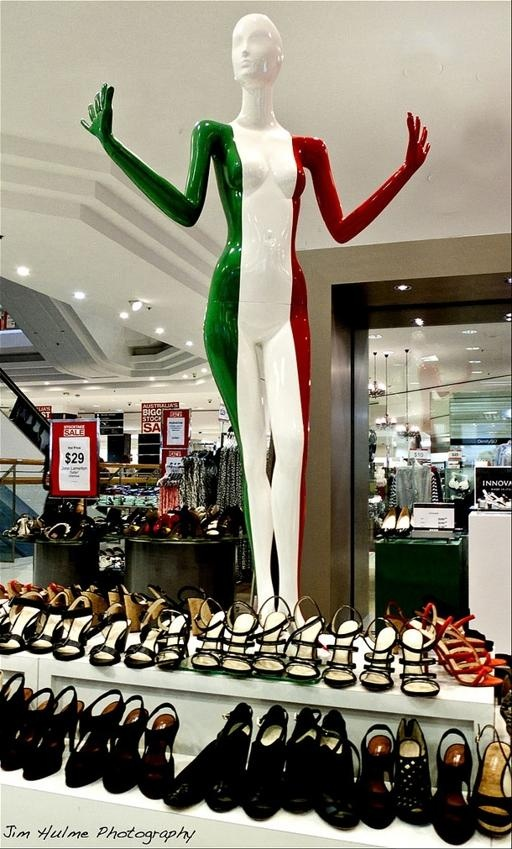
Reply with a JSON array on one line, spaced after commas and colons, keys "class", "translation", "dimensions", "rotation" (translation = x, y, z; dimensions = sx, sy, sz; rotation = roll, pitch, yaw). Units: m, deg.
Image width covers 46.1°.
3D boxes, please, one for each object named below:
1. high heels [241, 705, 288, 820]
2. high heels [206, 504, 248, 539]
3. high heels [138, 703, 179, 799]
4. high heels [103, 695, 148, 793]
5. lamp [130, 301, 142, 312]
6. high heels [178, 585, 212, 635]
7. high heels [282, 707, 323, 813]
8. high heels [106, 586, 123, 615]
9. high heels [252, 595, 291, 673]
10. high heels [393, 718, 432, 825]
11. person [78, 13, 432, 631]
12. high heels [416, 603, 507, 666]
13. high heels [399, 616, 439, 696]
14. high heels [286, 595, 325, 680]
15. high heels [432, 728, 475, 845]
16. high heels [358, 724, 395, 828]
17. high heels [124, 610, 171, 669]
[{"class": "high heels", "translation": [0.023, 0.796, 1.436], "dimensions": [0.096, 0.137, 0.296], "rotation": [-1, -5, 4]}, {"class": "high heels", "translation": [-0.172, 0.534, 3.258], "dimensions": [0.116, 0.164, 0.382], "rotation": [-2, -16, 2]}, {"class": "high heels", "translation": [-0.248, 0.825, 1.542], "dimensions": [0.066, 0.081, 0.250], "rotation": [1, 10, -3]}, {"class": "high heels", "translation": [-0.334, 0.837, 1.555], "dimensions": [0.064, 0.054, 0.203], "rotation": [-1, 27, 2]}, {"class": "lamp", "translation": [-1.590, -1.571, 8.024], "dimensions": [0.103, 0.119, 0.029], "rotation": [1, 24, -7]}, {"class": "high heels", "translation": [-0.221, 0.686, 2.280], "dimensions": [0.106, 0.137, 0.349], "rotation": [-1, -5, -4]}, {"class": "high heels", "translation": [0.108, 0.797, 1.431], "dimensions": [0.047, 0.049, 0.190], "rotation": [-5, 41, 16]}, {"class": "high heels", "translation": [-0.528, 0.668, 2.273], "dimensions": [0.049, 0.090, 0.088], "rotation": [0, -9, -4]}, {"class": "high heels", "translation": [0.047, 0.598, 1.721], "dimensions": [0.064, 0.051, 0.216], "rotation": [-3, 28, 7]}, {"class": "high heels", "translation": [0.362, 0.806, 1.378], "dimensions": [0.059, 0.244, 0.062], "rotation": [-8, -47, 17]}, {"class": "person", "translation": [0.018, -0.303, 1.762], "dimensions": [0.987, 1.697, 0.426], "rotation": [2, -5, -20]}, {"class": "high heels", "translation": [0.605, 0.666, 1.874], "dimensions": [0.209, 0.141, 0.333], "rotation": [-6, -13, -17]}, {"class": "high heels", "translation": [0.437, 0.625, 1.622], "dimensions": [0.072, 0.066, 0.247], "rotation": [-2, 4, 5]}, {"class": "high heels", "translation": [0.151, 0.651, 1.778], "dimensions": [0.099, 0.081, 0.363], "rotation": [-4, 14, 5]}, {"class": "high heels", "translation": [0.437, 0.808, 1.347], "dimensions": [0.064, 0.060, 0.312], "rotation": [-2, 10, 10]}, {"class": "high heels", "translation": [0.289, 0.806, 1.420], "dimensions": [0.062, 0.058, 0.271], "rotation": [-3, 14, 7]}, {"class": "high heels", "translation": [-0.340, 0.683, 1.905], "dimensions": [0.098, 0.092, 0.357], "rotation": [0, -3, 4]}]
